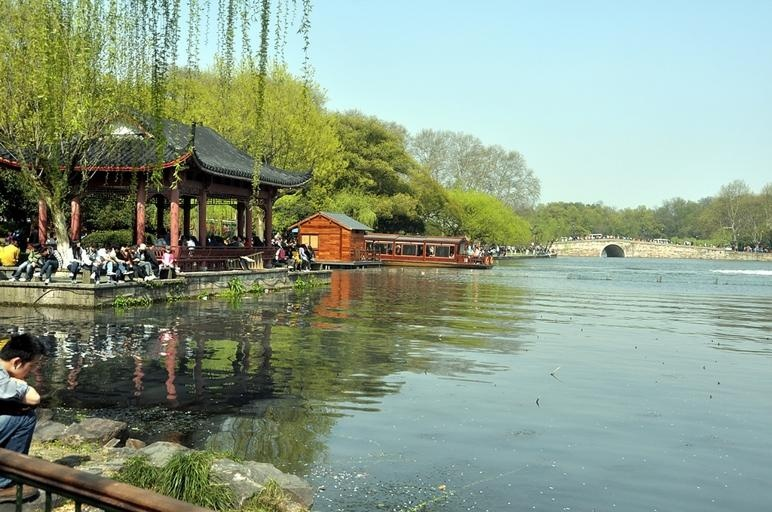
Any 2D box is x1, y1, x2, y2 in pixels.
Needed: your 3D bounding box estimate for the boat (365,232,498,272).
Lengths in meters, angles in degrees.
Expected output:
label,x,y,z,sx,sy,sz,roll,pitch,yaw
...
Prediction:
label,x,y,z,sx,sy,sz,roll,pitch,yaw
boat,5.647,-0.354,64.930,17.924,4.679,4.240,1,1,19
